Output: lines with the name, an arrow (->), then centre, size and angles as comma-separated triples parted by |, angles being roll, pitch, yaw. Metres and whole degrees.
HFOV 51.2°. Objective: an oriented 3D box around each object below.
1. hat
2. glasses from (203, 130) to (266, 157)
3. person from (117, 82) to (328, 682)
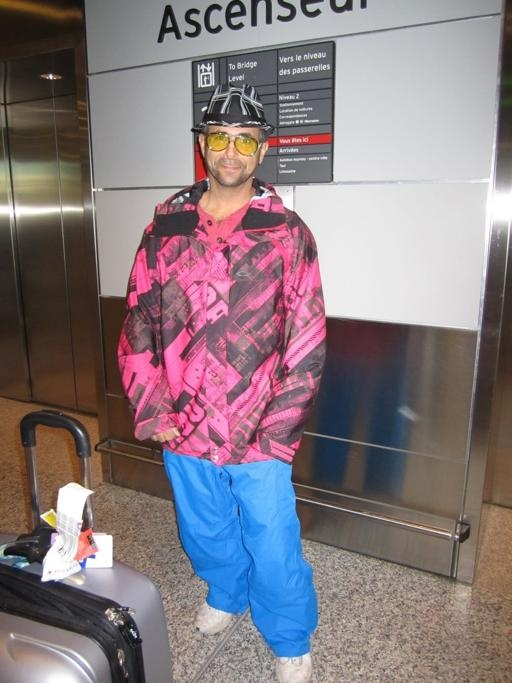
hat -> -0.058, -0.660, 1.500 | 0.212, 0.122, 0.105 | 0, 14, 2
glasses -> -0.063, -0.554, 1.505 | 0.154, 0.070, 0.085 | -1, 14, -3
person -> -0.070, 0.110, 1.598 | 0.689, 1.656, 0.396 | 8, 16, 31
